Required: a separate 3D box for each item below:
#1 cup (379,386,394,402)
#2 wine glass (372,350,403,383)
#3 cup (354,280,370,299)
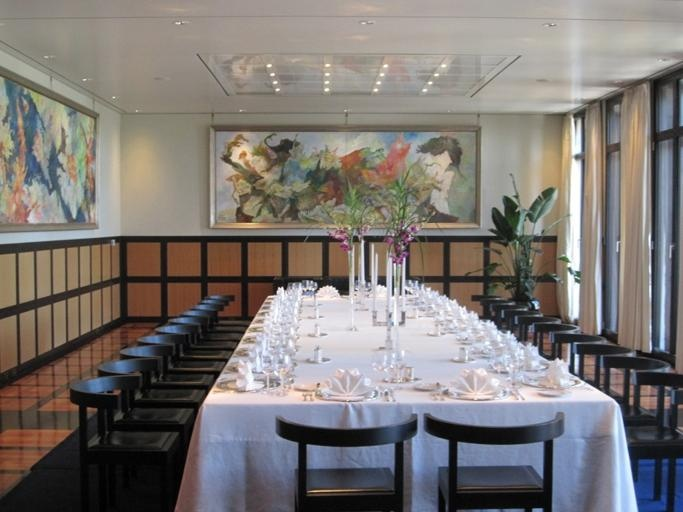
[{"bbox_3d":[0.288,0.858,3.592,0.063,0.065,0.067,3,-2,0],"label":"cup"},{"bbox_3d":[0.330,0.763,4.010,0.186,0.181,0.183,2,-2,4],"label":"wine glass"},{"bbox_3d":[0.303,0.432,7.461,0.242,0.265,0.231,2,2,0],"label":"cup"}]
